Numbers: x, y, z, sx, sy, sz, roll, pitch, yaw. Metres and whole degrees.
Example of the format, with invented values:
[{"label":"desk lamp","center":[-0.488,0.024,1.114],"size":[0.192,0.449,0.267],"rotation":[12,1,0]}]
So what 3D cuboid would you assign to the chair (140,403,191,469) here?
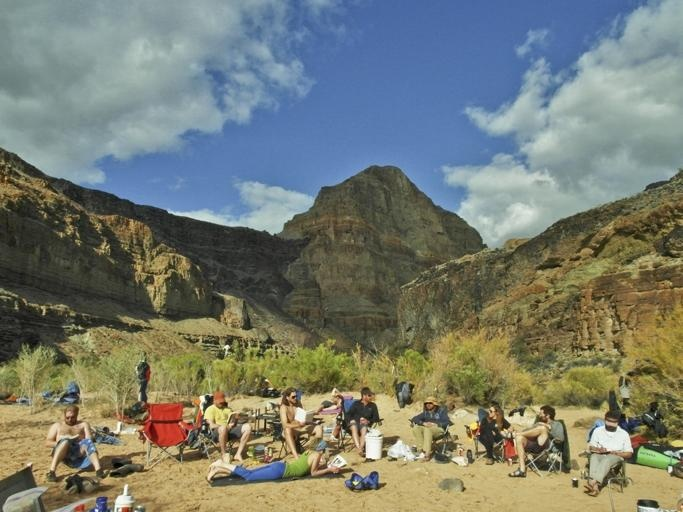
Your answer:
[{"label":"chair","center":[-4.245,4.363,13.246],"size":[1.289,1.337,1.137],"rotation":[3,-5,-36]}]

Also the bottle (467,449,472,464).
[{"label":"bottle","center":[3.202,5.059,13.557],"size":[0.053,0.229,0.232],"rotation":[-10,-27,-7]}]

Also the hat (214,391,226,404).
[{"label":"hat","center":[-3.072,3.554,13.607],"size":[0.270,0.314,0.347],"rotation":[11,3,-11]}]

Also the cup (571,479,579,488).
[{"label":"cup","center":[5.286,5.185,12.278],"size":[0.159,0.177,0.162],"rotation":[0,-7,0]}]

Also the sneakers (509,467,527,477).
[{"label":"sneakers","center":[4.163,5.171,12.843],"size":[0.412,0.175,0.161],"rotation":[1,-17,11]}]

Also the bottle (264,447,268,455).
[{"label":"bottle","center":[-1.889,4.859,13.524],"size":[0.121,0.157,0.216],"rotation":[1,-11,-6]}]

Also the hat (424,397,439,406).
[{"label":"hat","center":[2.307,3.750,14.004],"size":[0.353,0.139,0.356],"rotation":[0,-20,14]}]

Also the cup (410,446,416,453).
[{"label":"cup","center":[1.859,5.045,14.067],"size":[0.099,0.098,0.095],"rotation":[-3,-12,-1]}]

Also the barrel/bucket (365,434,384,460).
[{"label":"barrel/bucket","center":[0.806,4.859,13.745],"size":[0.564,0.537,0.561],"rotation":[0,-8,0]}]

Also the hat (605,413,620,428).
[{"label":"hat","center":[6.252,3.803,12.552],"size":[0.289,0.385,0.270],"rotation":[-11,-18,18]}]

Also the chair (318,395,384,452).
[{"label":"chair","center":[0.287,4.455,14.505],"size":[1.304,1.643,1.458],"rotation":[5,-33,3]}]
